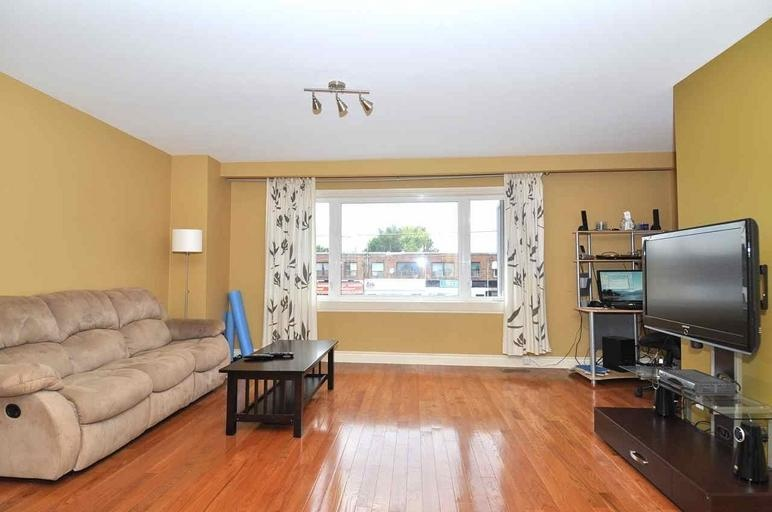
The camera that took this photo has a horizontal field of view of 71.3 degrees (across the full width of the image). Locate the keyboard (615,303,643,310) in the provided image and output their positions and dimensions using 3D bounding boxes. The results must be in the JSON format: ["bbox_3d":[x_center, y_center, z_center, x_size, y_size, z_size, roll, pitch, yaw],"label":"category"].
[{"bbox_3d":[2.960,0.605,6.561,0.319,0.074,0.097,0,10,-1],"label":"keyboard"}]

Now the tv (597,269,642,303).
[{"bbox_3d":[2.883,0.365,6.677,0.626,0.445,0.347,1,-13,11],"label":"tv"}]

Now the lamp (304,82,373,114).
[{"bbox_3d":[-0.466,-1.532,5.243,0.637,0.301,0.241,-2,9,-6],"label":"lamp"}]

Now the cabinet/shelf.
[{"bbox_3d":[2.764,0.163,6.434,1.016,0.890,0.329,1,0,-20],"label":"cabinet/shelf"}]

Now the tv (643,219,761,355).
[{"bbox_3d":[2.718,0.246,4.600,0.471,1.108,1.237,2,-4,-10],"label":"tv"}]

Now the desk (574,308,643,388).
[{"bbox_3d":[2.836,1.109,6.768,0.844,0.919,0.994,1,-4,4],"label":"desk"}]

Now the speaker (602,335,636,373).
[{"bbox_3d":[2.749,1.164,6.364,0.201,0.436,0.409,0,-2,-13],"label":"speaker"}]
